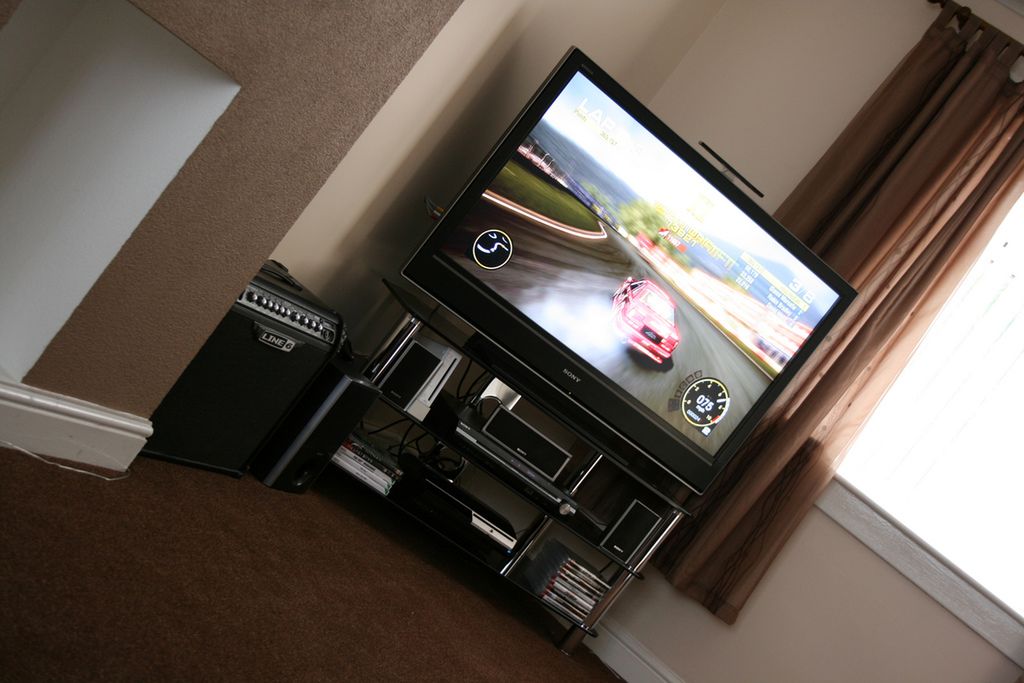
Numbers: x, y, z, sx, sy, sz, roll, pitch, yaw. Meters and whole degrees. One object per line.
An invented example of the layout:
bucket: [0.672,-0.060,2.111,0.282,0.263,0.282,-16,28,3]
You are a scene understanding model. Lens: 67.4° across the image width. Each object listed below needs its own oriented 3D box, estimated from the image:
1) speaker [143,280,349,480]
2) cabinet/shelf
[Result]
speaker: [-1.032,0.059,2.816,0.485,0.760,0.478,31,8,-38]
cabinet/shelf: [-0.038,0.480,3.033,1.317,0.896,0.665,42,4,-10]
